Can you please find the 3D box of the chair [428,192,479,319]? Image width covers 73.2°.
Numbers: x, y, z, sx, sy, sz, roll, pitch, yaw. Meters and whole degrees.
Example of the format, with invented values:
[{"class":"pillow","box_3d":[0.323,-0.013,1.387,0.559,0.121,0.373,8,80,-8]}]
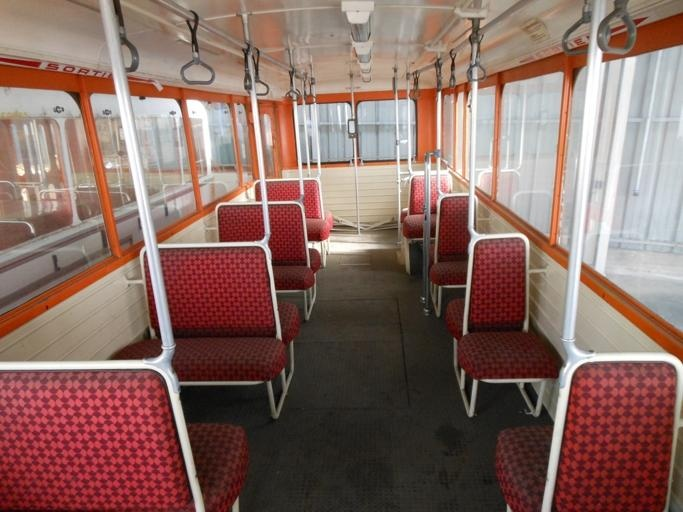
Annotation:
[{"class":"chair","box_3d":[1.398,0.030,5.433,0.720,1.180,0.686,-3,22,5]}]
